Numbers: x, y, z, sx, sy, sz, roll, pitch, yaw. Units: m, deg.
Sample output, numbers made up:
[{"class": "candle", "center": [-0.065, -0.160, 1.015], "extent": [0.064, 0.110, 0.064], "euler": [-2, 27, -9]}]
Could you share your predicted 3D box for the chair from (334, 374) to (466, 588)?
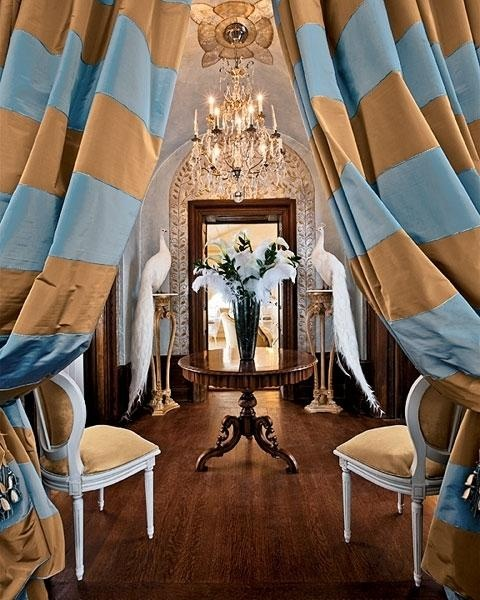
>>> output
[{"class": "chair", "center": [0.658, 0.587, 1.743], "extent": [0.345, 0.853, 0.431], "euler": [-6, 10, -28]}]

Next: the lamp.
[{"class": "lamp", "center": [-0.038, -1.541, 3.962], "extent": [0.666, 1.419, 0.703], "euler": [-3, -3, 41]}]

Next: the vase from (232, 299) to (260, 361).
[{"class": "vase", "center": [0.037, 0.173, 2.678], "extent": [0.160, 0.383, 0.300], "euler": [0, -1, -1]}]

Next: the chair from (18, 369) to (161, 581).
[{"class": "chair", "center": [-0.608, 0.602, 1.823], "extent": [0.344, 0.831, 0.416], "euler": [3, 10, 31]}]

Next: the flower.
[{"class": "flower", "center": [0.006, -0.090, 2.743], "extent": [0.546, 0.594, 0.699], "euler": [-5, 14, -6]}]

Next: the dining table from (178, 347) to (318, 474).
[{"class": "dining table", "center": [0.088, 0.608, 2.619], "extent": [0.625, 0.637, 0.726], "euler": [3, 11, 30]}]
